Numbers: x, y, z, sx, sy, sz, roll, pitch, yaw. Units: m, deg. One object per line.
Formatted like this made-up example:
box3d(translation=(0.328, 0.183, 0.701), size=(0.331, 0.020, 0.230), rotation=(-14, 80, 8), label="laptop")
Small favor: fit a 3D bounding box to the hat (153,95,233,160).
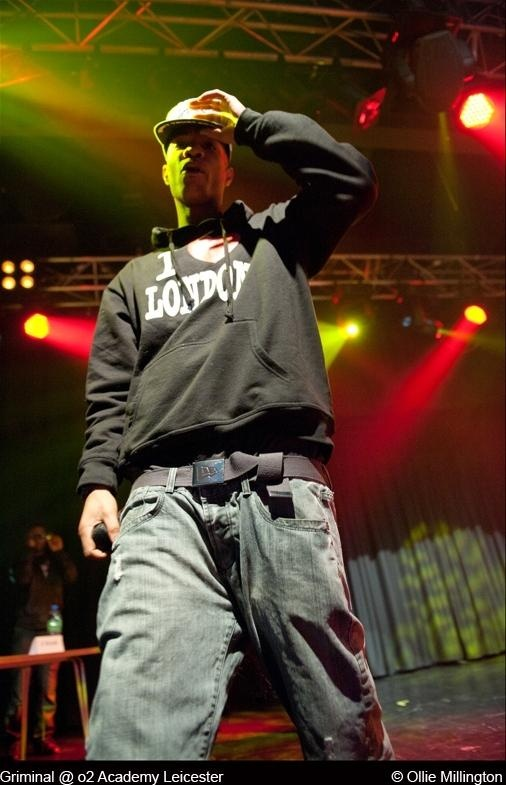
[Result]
box3d(translation=(-0.173, -0.745, 1.755), size=(0.171, 0.116, 0.220), rotation=(7, -39, 12), label="hat")
